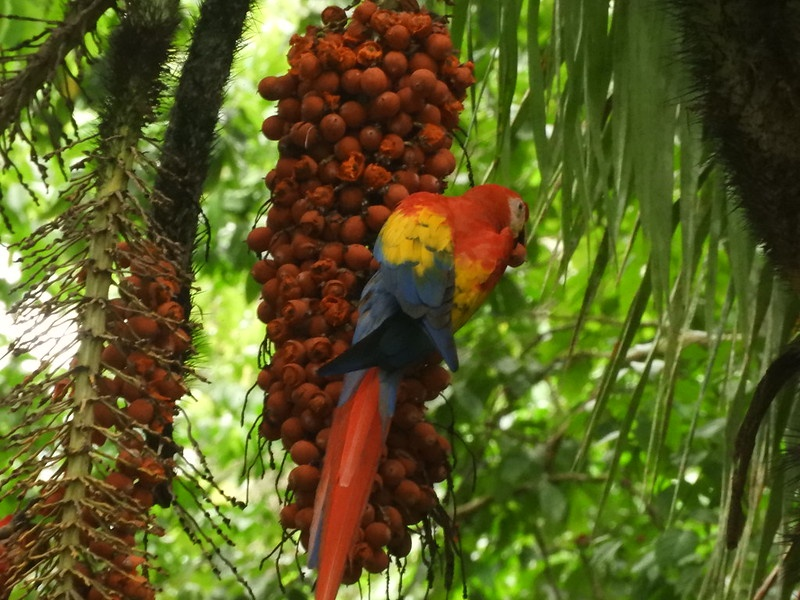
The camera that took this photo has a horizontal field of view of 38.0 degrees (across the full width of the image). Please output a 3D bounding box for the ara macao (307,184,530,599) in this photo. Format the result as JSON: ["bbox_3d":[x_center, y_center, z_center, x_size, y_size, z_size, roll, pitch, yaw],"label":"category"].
[{"bbox_3d":[0.022,0.124,1.875,0.331,0.720,0.154,12,-10,-18],"label":"ara macao"}]
